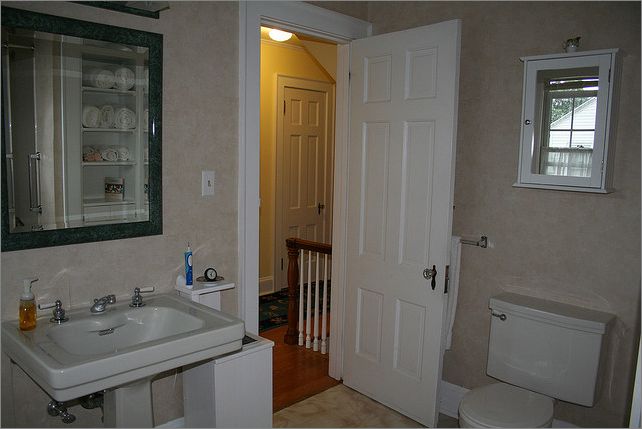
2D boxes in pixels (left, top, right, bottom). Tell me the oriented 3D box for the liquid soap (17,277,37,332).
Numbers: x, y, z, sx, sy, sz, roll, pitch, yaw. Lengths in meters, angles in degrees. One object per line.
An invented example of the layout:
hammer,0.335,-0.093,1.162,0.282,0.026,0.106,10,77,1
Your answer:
liquid soap,-1.573,0.472,2.483,0.096,0.252,0.145,-5,11,-29

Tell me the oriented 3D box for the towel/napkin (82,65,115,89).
towel/napkin,-1.304,-0.791,2.712,0.120,0.047,0.119,-12,41,-35

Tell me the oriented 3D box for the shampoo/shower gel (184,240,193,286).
shampoo/shower gel,-0.867,0.327,3.035,0.057,0.251,0.135,-3,10,-16

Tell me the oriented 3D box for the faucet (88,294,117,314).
faucet,-1.267,0.506,2.664,0.080,0.048,0.121,12,14,24

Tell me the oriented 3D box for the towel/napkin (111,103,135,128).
towel/napkin,-1.200,-0.595,2.798,0.111,0.142,0.050,0,-9,-23

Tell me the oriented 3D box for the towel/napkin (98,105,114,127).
towel/napkin,-1.273,-0.578,2.757,0.084,0.121,0.031,-2,6,-29

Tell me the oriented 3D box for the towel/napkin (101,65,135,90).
towel/napkin,-1.213,-0.789,2.769,0.160,0.138,0.128,10,15,42

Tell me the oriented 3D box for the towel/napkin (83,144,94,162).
towel/napkin,-1.338,-0.346,2.689,0.079,0.078,0.020,0,7,-39

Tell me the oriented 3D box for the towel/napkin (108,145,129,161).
towel/napkin,-1.215,-0.370,2.815,0.097,0.085,0.073,25,2,28

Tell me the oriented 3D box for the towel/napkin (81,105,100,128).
towel/napkin,-1.345,-0.568,2.706,0.096,0.115,0.041,-8,11,-33
